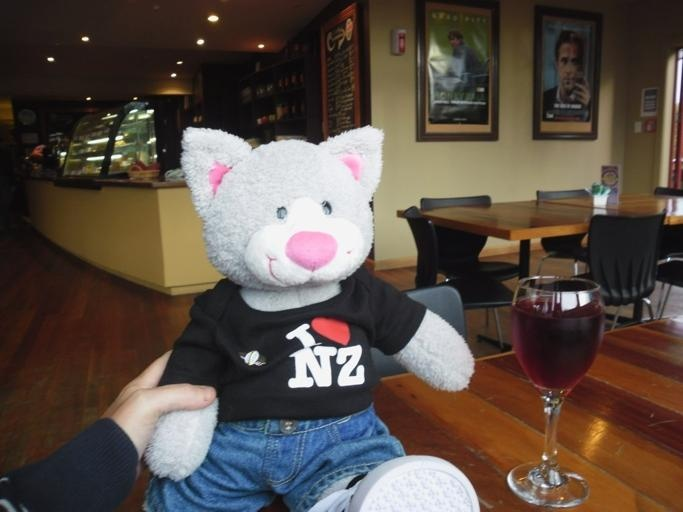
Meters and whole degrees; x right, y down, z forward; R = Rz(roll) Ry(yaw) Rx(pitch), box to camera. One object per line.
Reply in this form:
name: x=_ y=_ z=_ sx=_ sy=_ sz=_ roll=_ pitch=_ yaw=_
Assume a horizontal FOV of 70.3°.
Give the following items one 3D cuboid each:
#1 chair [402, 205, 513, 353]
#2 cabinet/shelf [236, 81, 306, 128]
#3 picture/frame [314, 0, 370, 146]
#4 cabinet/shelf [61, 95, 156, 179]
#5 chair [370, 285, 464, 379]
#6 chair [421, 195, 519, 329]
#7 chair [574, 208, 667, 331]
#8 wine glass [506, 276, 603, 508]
chair: x=0.581 y=0.139 z=2.464 sx=0.524 sy=0.768 sz=0.490 roll=-4 pitch=16 yaw=-4
cabinet/shelf: x=-0.894 y=-1.910 z=6.148 sx=0.425 sy=0.661 sz=1.755 roll=-7 pitch=14 yaw=-24
picture/frame: x=0.010 y=-1.816 z=4.806 sx=0.193 sy=1.168 sz=1.022 roll=-5 pitch=13 yaw=-18
cabinet/shelf: x=-2.233 y=-1.091 z=4.593 sx=0.814 sy=0.663 sz=0.461 roll=7 pitch=11 yaw=38
chair: x=0.132 y=0.149 z=1.135 sx=0.196 sy=0.256 sz=0.175 roll=-1 pitch=2 yaw=-33
chair: x=0.792 y=-0.014 z=2.886 sx=0.579 sy=0.694 sz=0.529 roll=-6 pitch=8 yaw=-27
chair: x=1.276 y=0.062 z=2.308 sx=0.394 sy=0.588 sz=0.410 roll=-7 pitch=12 yaw=-26
wine glass: x=0.282 y=0.151 z=0.647 sx=0.107 sy=0.245 sz=0.234 roll=5 pitch=14 yaw=26
